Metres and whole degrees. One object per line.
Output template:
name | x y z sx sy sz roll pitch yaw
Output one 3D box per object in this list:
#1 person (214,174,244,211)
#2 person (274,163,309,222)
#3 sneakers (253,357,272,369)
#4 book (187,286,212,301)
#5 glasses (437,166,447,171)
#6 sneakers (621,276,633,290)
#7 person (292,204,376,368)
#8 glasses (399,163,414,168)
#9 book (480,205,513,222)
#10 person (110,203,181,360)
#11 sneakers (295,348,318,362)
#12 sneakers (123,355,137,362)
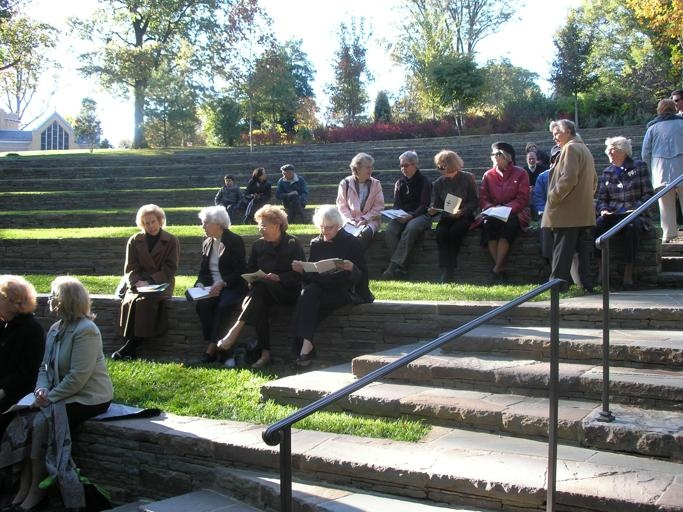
person | -2.720 -1.465 17.607 0.662 0.981 0.541 -5 -14 14
person | -1.092 -1.323 16.488 0.669 1.376 1.244 -4 -6 -3
sneakers | -0.986 1.330 9.147 0.090 0.086 0.250 -2 -4 40
book | -1.897 0.502 9.755 0.319 0.177 0.355 -1 2 -13
glasses | 1.503 -1.318 11.130 0.066 0.067 0.061 6 -6 -8
sneakers | 3.654 0.340 9.438 0.141 0.168 0.142 2 -6 -20
person | -0.139 0.344 9.035 0.938 1.925 0.652 -1 2 -17
glasses | 0.985 -1.379 11.367 0.098 0.060 0.219 -2 2 -40
book | 2.220 -0.604 10.636 0.432 0.224 0.372 0 2 16
person | -2.673 0.353 10.037 0.834 2.074 0.575 0 2 -7
sneakers | -0.403 1.201 8.907 0.097 0.112 0.275 -6 -10 21
sneakers | -2.865 1.364 10.002 0.187 0.056 0.096 -1 2 -23
